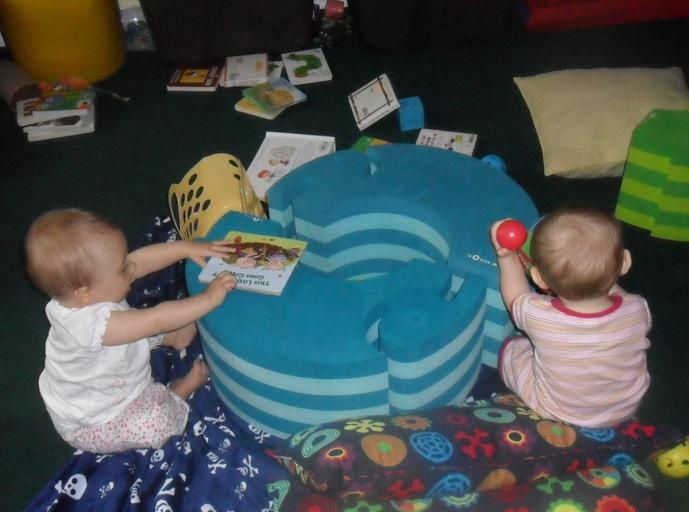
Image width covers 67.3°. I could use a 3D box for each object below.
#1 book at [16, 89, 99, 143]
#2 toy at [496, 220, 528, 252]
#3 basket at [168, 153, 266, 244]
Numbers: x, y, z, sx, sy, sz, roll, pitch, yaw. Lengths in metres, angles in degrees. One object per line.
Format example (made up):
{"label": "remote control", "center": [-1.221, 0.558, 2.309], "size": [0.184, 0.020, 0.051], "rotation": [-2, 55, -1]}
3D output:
{"label": "book", "center": [-1.941, -0.902, 3.552], "size": [0.428, 0.115, 0.427], "rotation": [-11, 54, -13]}
{"label": "toy", "center": [0.598, -0.079, 1.912], "size": [0.108, 0.125, 0.108], "rotation": [0, -8, -10]}
{"label": "basket", "center": [-0.629, -0.280, 2.425], "size": [0.414, 0.411, 0.308], "rotation": [-22, 32, -25]}
